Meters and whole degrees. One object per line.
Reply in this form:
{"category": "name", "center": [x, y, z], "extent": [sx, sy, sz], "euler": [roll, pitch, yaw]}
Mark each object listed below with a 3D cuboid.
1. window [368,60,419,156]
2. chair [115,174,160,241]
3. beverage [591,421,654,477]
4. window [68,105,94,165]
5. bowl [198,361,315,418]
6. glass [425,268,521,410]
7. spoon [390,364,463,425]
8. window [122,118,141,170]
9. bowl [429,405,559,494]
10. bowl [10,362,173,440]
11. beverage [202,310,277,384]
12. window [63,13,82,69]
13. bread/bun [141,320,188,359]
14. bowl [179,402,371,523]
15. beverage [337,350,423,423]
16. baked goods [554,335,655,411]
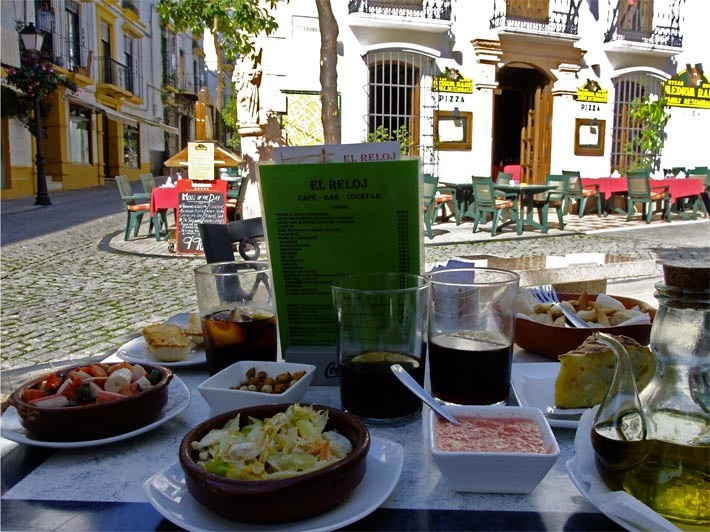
{"category": "window", "center": [0.761, -3.178, 11.573], "extent": [1.317, 1.848, 0.644], "euler": [-11, 11, -43]}
{"category": "chair", "center": [-3.515, -0.967, 9.469], "extent": [0.504, 0.688, 0.500], "euler": [-26, 13, -34]}
{"category": "beverage", "center": [0.334, 0.221, 0.728], "extent": [0.059, 0.047, 0.054], "euler": [1, 6, 33]}
{"category": "window", "center": [-9.844, -4.734, 20.902], "extent": [0.078, 2.128, 2.943], "euler": [-3, 12, -38]}
{"category": "bowl", "center": [-0.173, 0.186, 0.991], "extent": [0.125, 0.042, 0.116], "euler": [-3, 11, 1]}
{"category": "glass", "center": [0.178, 0.120, 1.056], "extent": [0.222, 0.305, 0.192], "euler": [0, 0, -2]}
{"category": "spoon", "center": [0.099, 0.183, 0.936], "extent": [0.036, 0.033, 0.270], "euler": [-10, 13, -12]}
{"category": "window", "center": [-9.865, -5.320, 25.520], "extent": [0.063, 1.953, 2.683], "euler": [-10, 18, -36]}
{"category": "bowl", "center": [0.191, 0.264, 0.825], "extent": [0.171, 0.098, 0.123], "euler": [-2, 8, 6]}
{"category": "bowl", "center": [-0.428, 0.214, 0.936], "extent": [0.146, 0.055, 0.142], "euler": [6, 5, 0]}
{"category": "beverage", "center": [-0.236, 0.135, 1.178], "extent": [0.157, 0.124, 0.145], "euler": [2, -11, -24]}
{"category": "window", "center": [-9.643, -7.787, 19.962], "extent": [0.320, 1.967, 0.994], "euler": [-4, 8, -8]}
{"category": "bread/bun", "center": [-0.414, 0.167, 1.275], "extent": [0.086, 0.042, 0.144], "euler": [1, 14, -29]}
{"category": "bowl", "center": [-0.118, 0.239, 0.756], "extent": [0.163, 0.061, 0.160], "euler": [-9, -2, 0]}
{"category": "beverage", "center": [0.047, 0.202, 1.023], "extent": [0.190, 0.108, 0.195], "euler": [-6, -10, 33]}
{"category": "baked goods", "center": [0.427, 0.199, 0.971], "extent": [0.174, 0.099, 0.129], "euler": [-3, -33, 25]}
